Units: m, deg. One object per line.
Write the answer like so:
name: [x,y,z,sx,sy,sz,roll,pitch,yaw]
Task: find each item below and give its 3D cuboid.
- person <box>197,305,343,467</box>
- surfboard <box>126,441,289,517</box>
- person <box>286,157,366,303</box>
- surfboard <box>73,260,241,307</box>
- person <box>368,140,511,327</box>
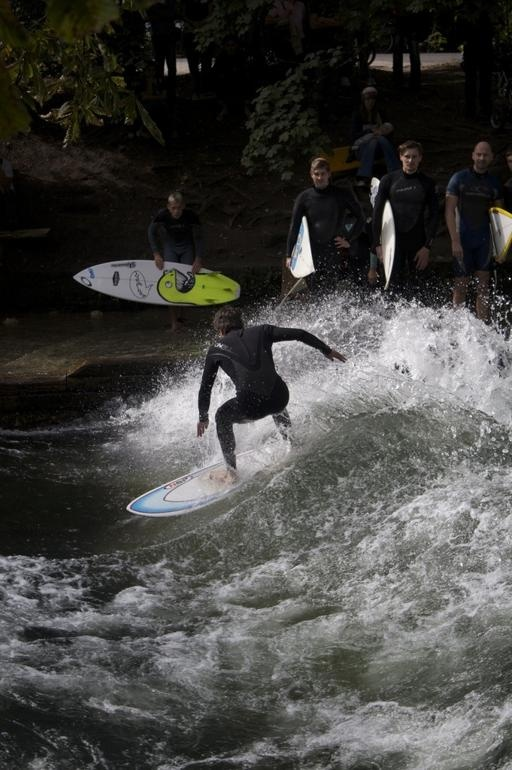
person: [0.121,0.021,6.128,1.178,1.124,0.800,-7,14,9]
surfboard: [-0.319,0.714,6.320,0.432,0.113,1.576,4,13,34]
person: [0.648,-1.416,7.982,0.628,1.155,0.610,-15,15,-37]
surfboard: [-1.040,-1.068,9.542,2.313,0.573,0.372,5,0,15]
person: [1.568,-1.259,7.555,1.109,1.567,0.620,-5,12,7]
